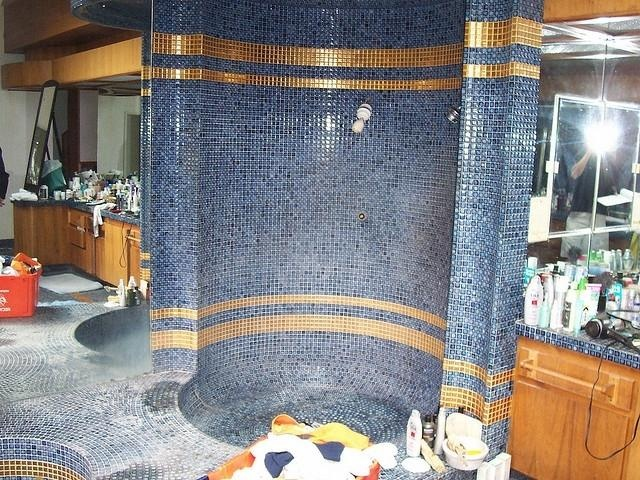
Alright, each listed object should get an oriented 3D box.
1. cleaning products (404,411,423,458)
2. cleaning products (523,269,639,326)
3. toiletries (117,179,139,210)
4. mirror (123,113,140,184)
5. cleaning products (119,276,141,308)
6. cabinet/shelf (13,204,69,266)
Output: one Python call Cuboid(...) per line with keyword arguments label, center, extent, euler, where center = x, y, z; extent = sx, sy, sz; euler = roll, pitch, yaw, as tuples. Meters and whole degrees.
Cuboid(label="cleaning products", center=(0.640, 1.275, 3.663), extent=(0.103, 0.317, 0.184), euler=(3, 9, 9))
Cuboid(label="cleaning products", center=(1.695, 0.364, 3.557), extent=(0.515, 0.454, 0.431), euler=(1, -9, 41))
Cuboid(label="toiletries", center=(-1.566, -0.374, 4.391), extent=(0.178, 0.252, 0.618), euler=(-2, 10, -20))
Cuboid(label="mirror", center=(-1.693, -0.850, 4.827), extent=(0.141, 0.541, 0.547), euler=(-2, 10, -20))
Cuboid(label="cleaning products", center=(-1.487, 0.399, 4.203), extent=(0.172, 0.227, 0.055), euler=(-2, 10, -21))
Cuboid(label="cabinet/shelf", center=(-2.046, -0.050, 3.964), extent=(0.354, 0.467, 0.130), euler=(-3, 11, -29))
